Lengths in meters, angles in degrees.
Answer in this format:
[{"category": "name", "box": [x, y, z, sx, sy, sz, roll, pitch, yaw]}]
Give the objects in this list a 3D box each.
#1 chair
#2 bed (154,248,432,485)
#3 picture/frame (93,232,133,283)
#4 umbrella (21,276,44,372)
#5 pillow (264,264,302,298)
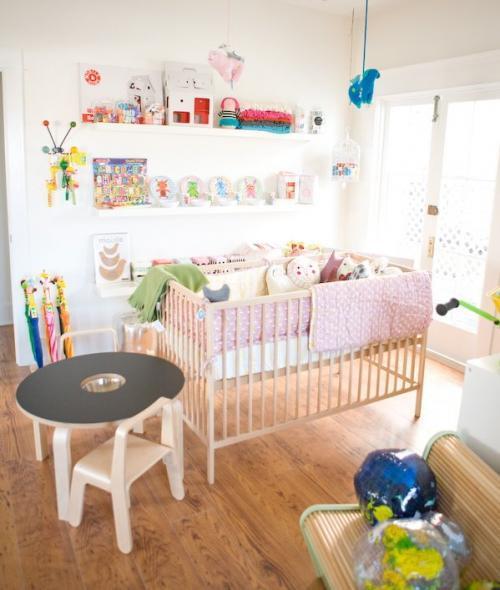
[{"category": "chair", "box": [-0.462, 0.629, 1.846, 0.354, 0.546, 0.430, 8, 14, 29]}, {"category": "bed", "box": [0.219, 0.267, 2.807, 1.427, 0.979, 1.017, -11, 20, -31]}, {"category": "picture/frame", "box": [-0.987, -0.263, 3.301, 0.314, 0.438, 0.045, -5, 10, -27]}, {"category": "umbrella", "box": [-1.440, 0.167, 3.084, 0.164, 0.641, 0.087, -6, 3, -18]}, {"category": "pillow", "box": [0.167, -0.078, 2.687, 0.154, 0.069, 0.189, -4, 60, -10]}]
